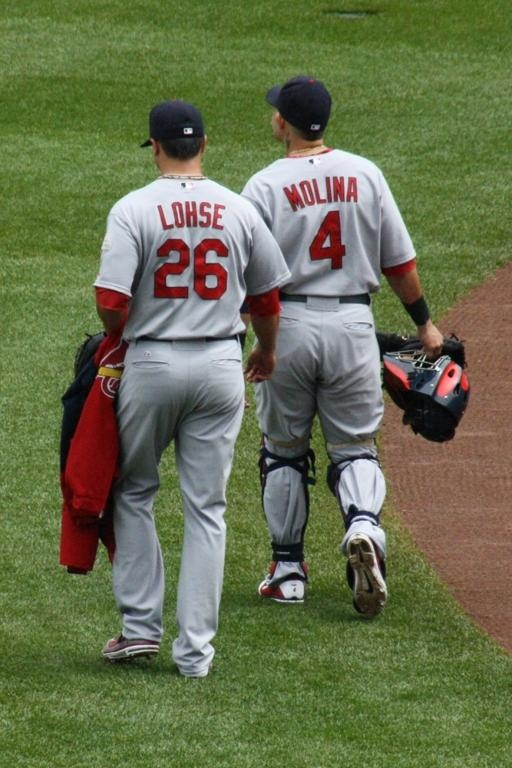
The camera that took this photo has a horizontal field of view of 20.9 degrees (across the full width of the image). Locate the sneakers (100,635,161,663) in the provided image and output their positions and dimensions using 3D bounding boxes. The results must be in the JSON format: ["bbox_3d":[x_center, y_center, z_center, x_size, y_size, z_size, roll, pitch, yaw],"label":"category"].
[{"bbox_3d":[-0.431,0.906,4.788,0.207,0.084,0.107,-7,39,18],"label":"sneakers"}]

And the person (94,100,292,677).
[{"bbox_3d":[-0.245,0.128,4.766,0.610,1.949,0.991,5,27,3],"label":"person"}]

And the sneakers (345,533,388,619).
[{"bbox_3d":[0.421,0.703,5.148,0.122,0.341,0.163,-9,8,8],"label":"sneakers"}]

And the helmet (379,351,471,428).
[{"bbox_3d":[0.662,0.014,5.522,0.312,0.294,0.278,22,22,16],"label":"helmet"}]

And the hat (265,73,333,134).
[{"bbox_3d":[0.157,-1.076,5.322,0.175,0.168,0.274,-6,48,-24],"label":"hat"}]
